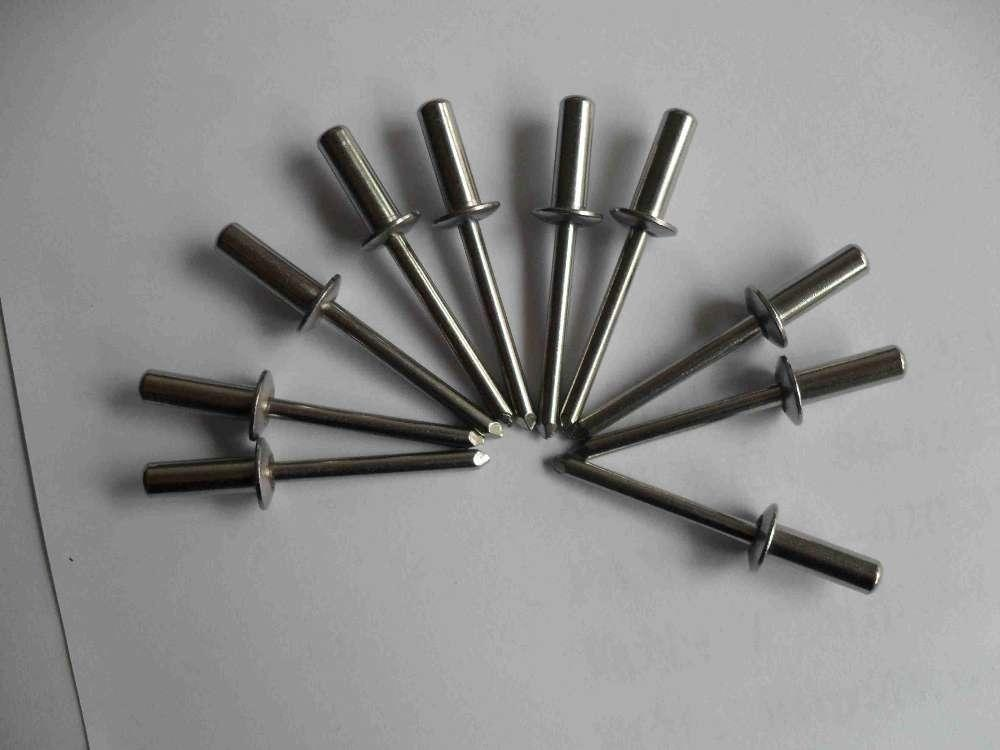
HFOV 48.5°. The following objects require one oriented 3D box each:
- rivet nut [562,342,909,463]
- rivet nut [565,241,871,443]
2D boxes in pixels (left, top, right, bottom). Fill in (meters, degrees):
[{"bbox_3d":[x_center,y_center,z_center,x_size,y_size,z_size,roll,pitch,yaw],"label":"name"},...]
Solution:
[{"bbox_3d":[0.500,0.067,2.493,0.392,0.115,0.108,-18,41,7],"label":"rivet nut"},{"bbox_3d":[0.480,-0.053,2.504,0.527,0.120,0.112,-38,-28,2],"label":"rivet nut"}]
